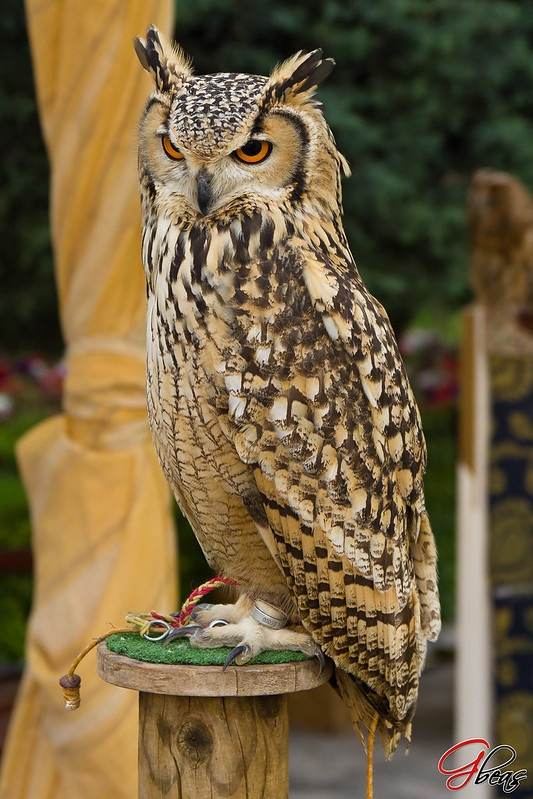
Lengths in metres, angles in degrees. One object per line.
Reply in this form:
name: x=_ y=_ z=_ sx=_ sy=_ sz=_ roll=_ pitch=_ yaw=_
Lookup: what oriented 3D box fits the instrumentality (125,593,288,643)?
instrumentality: x=-0.132 y=0.478 z=3.440 sx=0.214 sy=0.047 sz=0.139 roll=-6 pitch=3 yaw=-29
